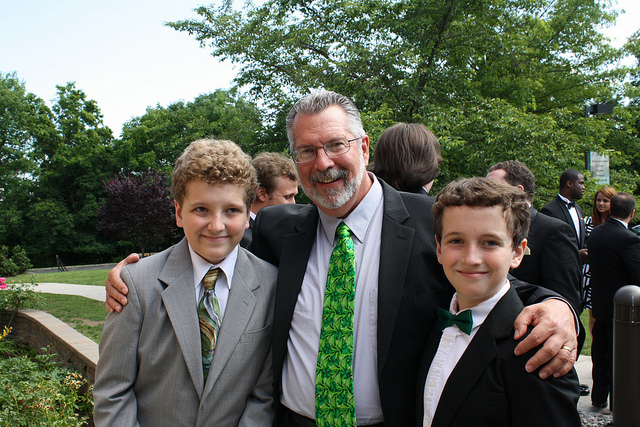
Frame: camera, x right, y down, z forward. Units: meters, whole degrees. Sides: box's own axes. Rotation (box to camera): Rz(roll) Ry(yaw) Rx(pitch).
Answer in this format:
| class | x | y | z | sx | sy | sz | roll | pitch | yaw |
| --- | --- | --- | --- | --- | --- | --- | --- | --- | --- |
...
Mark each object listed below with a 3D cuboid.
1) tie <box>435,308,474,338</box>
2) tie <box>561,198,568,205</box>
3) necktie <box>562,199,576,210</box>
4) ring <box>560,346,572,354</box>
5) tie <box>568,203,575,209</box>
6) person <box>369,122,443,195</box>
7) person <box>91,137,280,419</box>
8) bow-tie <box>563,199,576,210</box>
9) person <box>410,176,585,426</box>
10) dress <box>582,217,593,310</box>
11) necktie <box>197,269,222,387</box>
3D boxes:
| class | x | y | z | sx | sy | sz | roll | pitch | yaw |
| --- | --- | --- | --- | --- | --- | --- | --- | --- | --- |
| tie | 0.911 | 0.734 | 3.162 | 0.200 | 0.136 | 0.041 | 13 | 5 | 30 |
| tie | 3.894 | -0.193 | 7.542 | 0.098 | 0.023 | 0.091 | 36 | 4 | -23 |
| necktie | 4.103 | -0.149 | 7.771 | 0.159 | 0.088 | 0.162 | -3 | 7 | -36 |
| ring | 1.501 | 0.827 | 2.873 | 0.074 | 0.037 | 0.018 | 2 | -5 | -14 |
| tie | 4.126 | -0.125 | 7.740 | 0.100 | 0.027 | 0.099 | -9 | -25 | -18 |
| person | 0.833 | -0.483 | 4.449 | 0.726 | 0.819 | 0.647 | -6 | 4 | 18 |
| person | -0.911 | 0.457 | 3.455 | 1.258 | 2.067 | 0.368 | 2 | -5 | -6 |
| bow-tie | 4.102 | -0.149 | 7.760 | 0.169 | 0.089 | 0.167 | -5 | 7 | -37 |
| person | 1.105 | 0.594 | 3.111 | 0.999 | 1.675 | 0.390 | 0 | -5 | 10 |
| dress | 4.242 | 0.730 | 7.469 | 0.157 | 1.501 | 2.154 | -1 | -6 | 30 |
| necktie | -0.787 | 0.793 | 3.396 | 0.159 | 0.776 | 0.139 | 6 | -6 | -44 |
